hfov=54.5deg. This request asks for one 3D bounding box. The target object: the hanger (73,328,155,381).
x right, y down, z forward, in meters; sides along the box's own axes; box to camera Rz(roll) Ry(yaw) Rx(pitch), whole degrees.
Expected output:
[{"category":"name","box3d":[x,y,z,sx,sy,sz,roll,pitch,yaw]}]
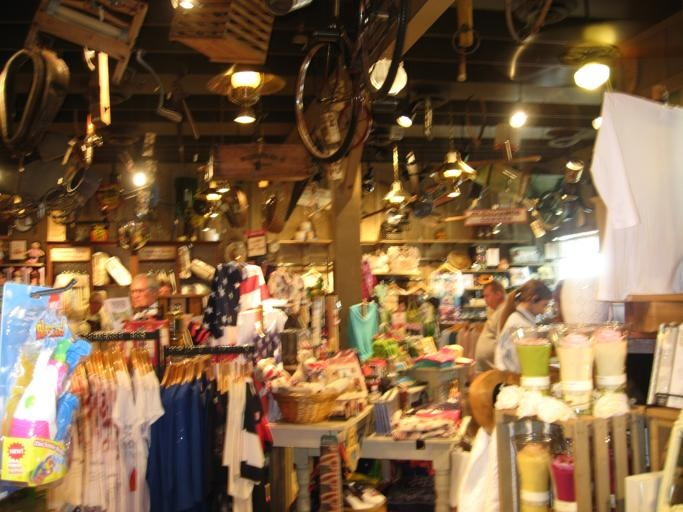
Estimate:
[{"category":"hanger","box3d":[-1.469,0.634,4.459,0.470,0.304,0.553,3,-5,-20]}]

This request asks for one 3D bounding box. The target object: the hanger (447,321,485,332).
[{"category":"hanger","box3d":[1.484,0.834,7.929,0.319,0.112,0.320,-1,-13,4]}]

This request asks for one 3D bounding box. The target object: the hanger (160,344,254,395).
[{"category":"hanger","box3d":[-0.785,0.724,4.302,0.811,0.394,0.244,0,-3,6]}]

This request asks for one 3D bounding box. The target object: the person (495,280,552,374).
[{"category":"person","box3d":[1.474,0.512,5.340,0.448,0.738,1.862,-1,-5,17]}]
